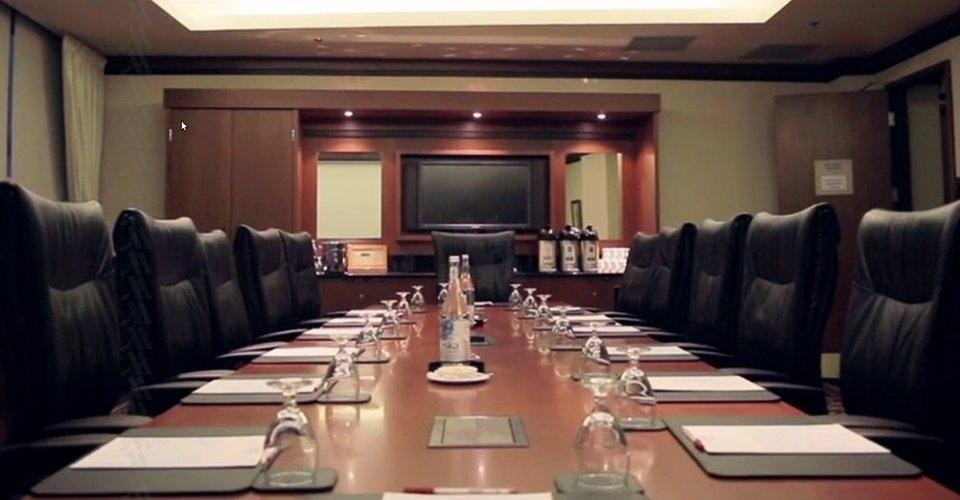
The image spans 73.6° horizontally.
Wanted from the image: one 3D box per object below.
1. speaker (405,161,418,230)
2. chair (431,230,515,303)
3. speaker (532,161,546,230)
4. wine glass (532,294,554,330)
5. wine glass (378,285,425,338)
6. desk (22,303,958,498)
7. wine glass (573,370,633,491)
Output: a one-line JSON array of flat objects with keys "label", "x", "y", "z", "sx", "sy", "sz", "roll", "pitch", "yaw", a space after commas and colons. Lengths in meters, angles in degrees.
[{"label": "speaker", "x": -0.726, "y": -0.580, "z": 6.731, "sx": 0.165, "sy": 0.747, "sz": 0.127, "roll": -2, "pitch": 6, "yaw": -6}, {"label": "chair", "x": 0.033, "y": 0.177, "z": 5.670, "sx": 0.820, "sy": 0.947, "sz": 0.601, "roll": 1, "pitch": -7, "yaw": 1}, {"label": "speaker", "x": 0.646, "y": -0.604, "z": 6.832, "sx": 0.173, "sy": 0.727, "sz": 0.117, "roll": -1, "pitch": 6, "yaw": -1}, {"label": "wine glass", "x": 0.423, "y": 0.400, "z": 4.031, "sx": 0.206, "sy": 0.199, "sz": 0.190, "roll": 2, "pitch": -5, "yaw": -3}, {"label": "wine glass", "x": -0.540, "y": 0.421, "z": 4.415, "sx": 0.248, "sy": 0.254, "sz": 0.772, "roll": 1, "pitch": -5, "yaw": -7}, {"label": "desk", "x": 0.138, "y": 0.779, "z": 2.812, "sx": 3.124, "sy": 0.378, "sz": 1.163, "roll": 0, "pitch": 4, "yaw": 10}, {"label": "wine glass", "x": 0.498, "y": 0.724, "z": 2.574, "sx": 0.215, "sy": 0.415, "sz": 0.174, "roll": 0, "pitch": 6, "yaw": 7}]
